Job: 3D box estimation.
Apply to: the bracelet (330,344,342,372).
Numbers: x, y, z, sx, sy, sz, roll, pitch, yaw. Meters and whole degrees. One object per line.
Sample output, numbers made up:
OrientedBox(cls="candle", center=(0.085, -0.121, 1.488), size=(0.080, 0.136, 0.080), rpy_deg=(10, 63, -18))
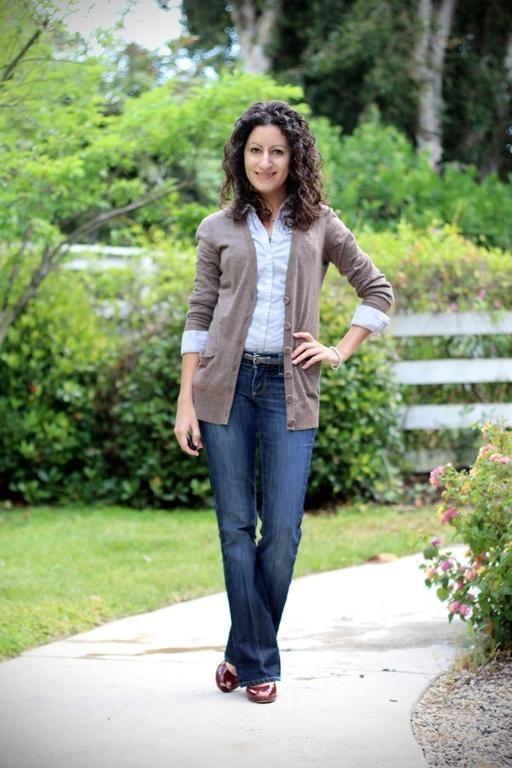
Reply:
OrientedBox(cls="bracelet", center=(0.224, -0.070, 2.135), size=(0.028, 0.086, 0.073), rpy_deg=(-5, 2, 0))

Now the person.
OrientedBox(cls="person", center=(0.066, 0.029, 2.129), size=(0.571, 1.585, 0.335), rpy_deg=(1, 1, 7))
